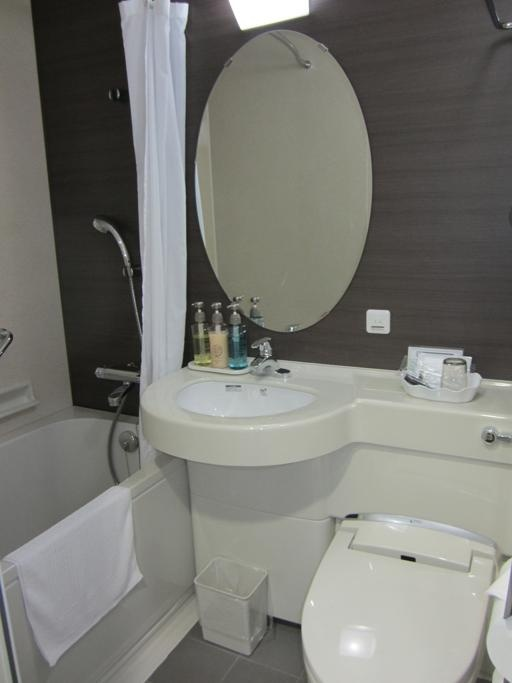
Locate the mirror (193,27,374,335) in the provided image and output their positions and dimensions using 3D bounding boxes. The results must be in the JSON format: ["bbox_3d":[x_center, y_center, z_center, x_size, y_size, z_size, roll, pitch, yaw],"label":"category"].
[{"bbox_3d":[0.074,-0.470,1.607,0.576,0.895,0.040,5,13,29],"label":"mirror"}]

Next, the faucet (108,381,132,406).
[{"bbox_3d":[-0.518,0.203,2.000,0.044,0.033,0.133,5,26,7],"label":"faucet"}]

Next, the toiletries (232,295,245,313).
[{"bbox_3d":[-0.060,-0.120,1.721,0.030,0.058,0.051,5,20,15],"label":"toiletries"}]

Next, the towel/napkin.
[{"bbox_3d":[-0.443,0.591,1.317,0.058,0.327,0.404,4,13,24],"label":"towel/napkin"}]

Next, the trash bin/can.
[{"bbox_3d":[-0.080,0.828,1.635,0.208,0.228,0.179,3,13,22],"label":"trash bin/can"}]

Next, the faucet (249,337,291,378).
[{"bbox_3d":[0.033,0.064,1.599,0.063,0.114,0.177,0,-2,26],"label":"faucet"}]
